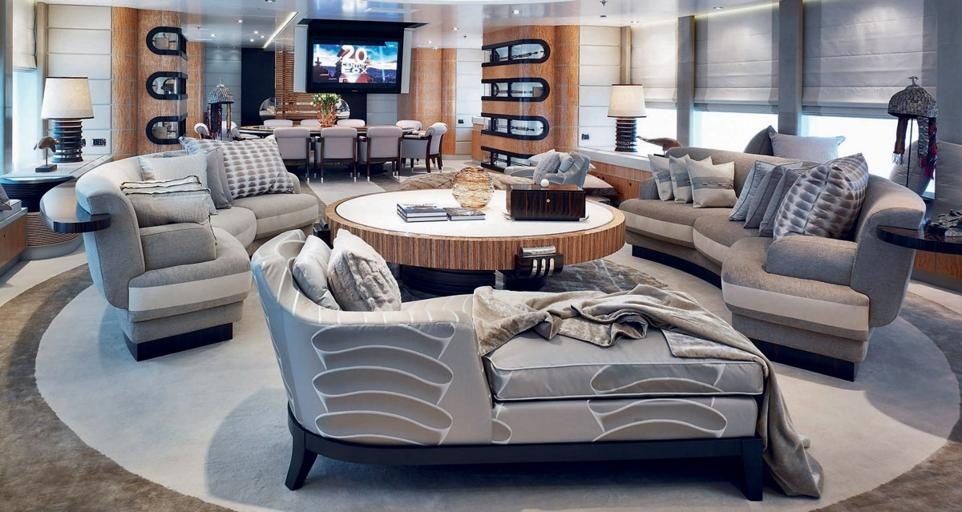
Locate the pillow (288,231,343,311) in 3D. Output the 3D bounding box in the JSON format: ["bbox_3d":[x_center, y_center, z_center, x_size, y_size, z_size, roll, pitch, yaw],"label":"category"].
[{"bbox_3d":[-1.140,0.125,4.005,0.230,0.198,0.546,16,13,-19],"label":"pillow"}]

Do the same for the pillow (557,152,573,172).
[{"bbox_3d":[1.069,-1.197,7.470,0.176,0.216,0.464,1,17,5],"label":"pillow"}]

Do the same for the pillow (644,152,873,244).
[{"bbox_3d":[3.139,-0.550,5.714,1.120,0.997,0.428,11,-11,46],"label":"pillow"}]

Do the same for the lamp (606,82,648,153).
[{"bbox_3d":[2.537,-2.408,10.266,0.572,1.147,0.887,4,19,11],"label":"lamp"}]
